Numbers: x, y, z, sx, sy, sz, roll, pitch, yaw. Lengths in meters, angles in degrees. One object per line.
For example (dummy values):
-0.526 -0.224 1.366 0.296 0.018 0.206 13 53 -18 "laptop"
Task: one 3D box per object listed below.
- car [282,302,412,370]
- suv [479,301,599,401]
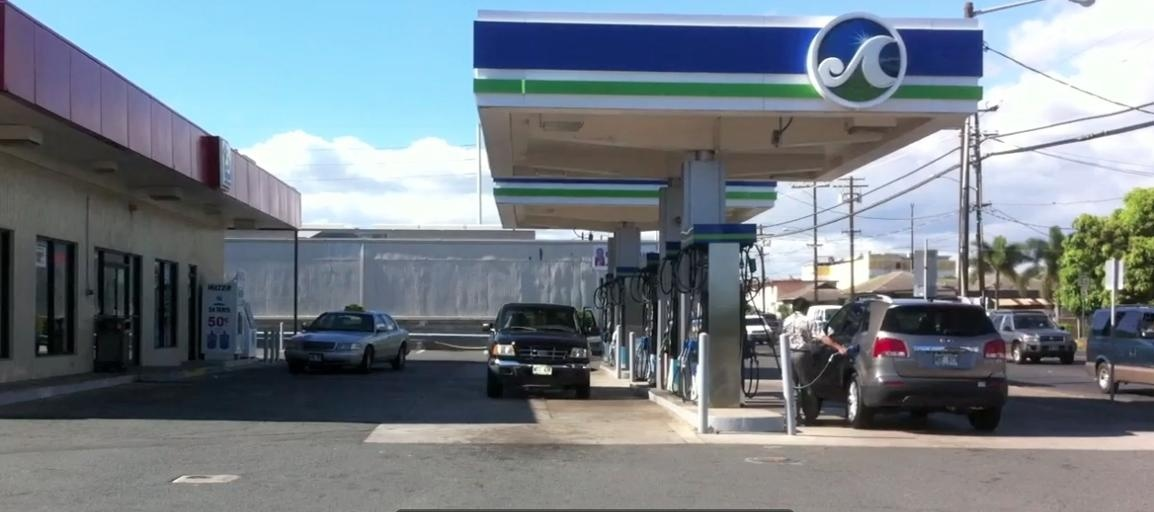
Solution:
-9.451 3.550 40.611 2.686 2.629 4.334 -5 -10 35 "car"
-1.426 3.427 35.242 3.562 3.399 1.616 1 -8 -8 "suv"
